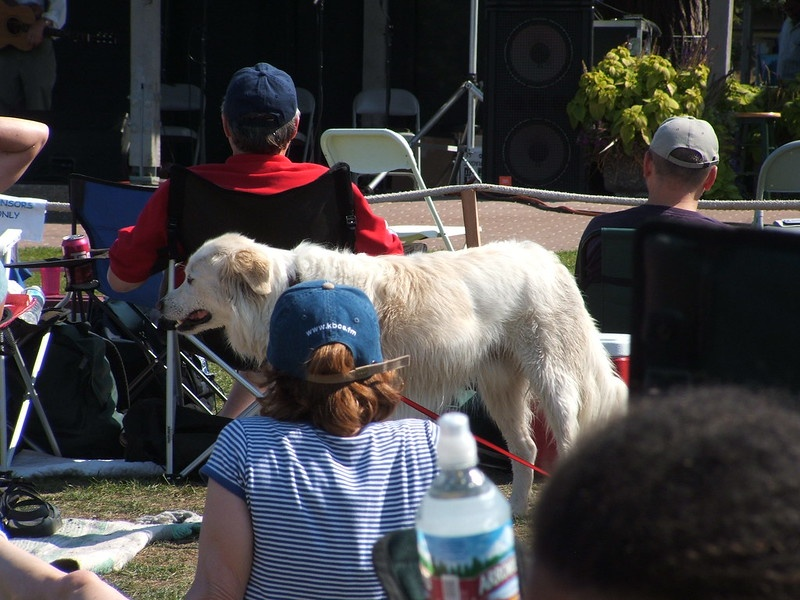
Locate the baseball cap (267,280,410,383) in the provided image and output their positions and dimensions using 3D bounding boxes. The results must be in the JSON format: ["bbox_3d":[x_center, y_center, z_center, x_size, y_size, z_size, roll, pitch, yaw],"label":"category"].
[{"bbox_3d":[-0.202,0.117,3.344,0.339,0.322,0.603,0,3,-19],"label":"baseball cap"}]

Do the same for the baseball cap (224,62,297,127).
[{"bbox_3d":[-0.616,-0.919,5.197,0.317,0.276,0.494,0,14,-3],"label":"baseball cap"}]
